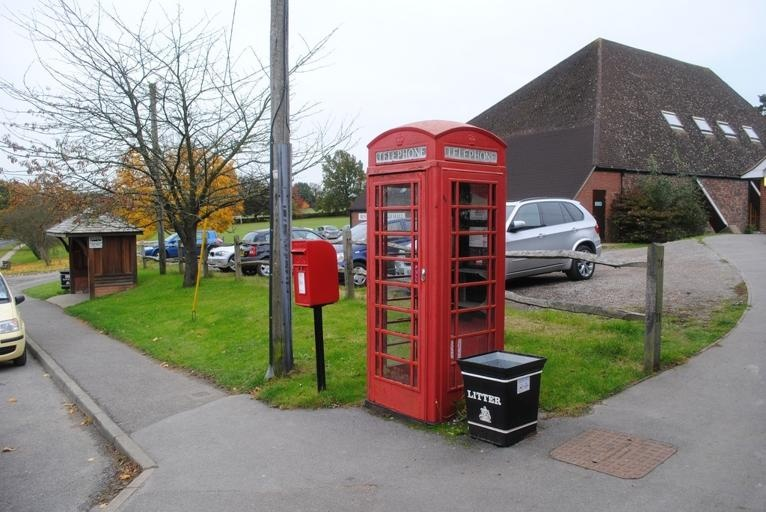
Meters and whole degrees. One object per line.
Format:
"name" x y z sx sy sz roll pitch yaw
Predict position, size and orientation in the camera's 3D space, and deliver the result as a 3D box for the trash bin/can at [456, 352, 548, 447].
"trash bin/can" 1.682 1.970 8.445 1.132 1.263 1.213 -1 -1 -40
